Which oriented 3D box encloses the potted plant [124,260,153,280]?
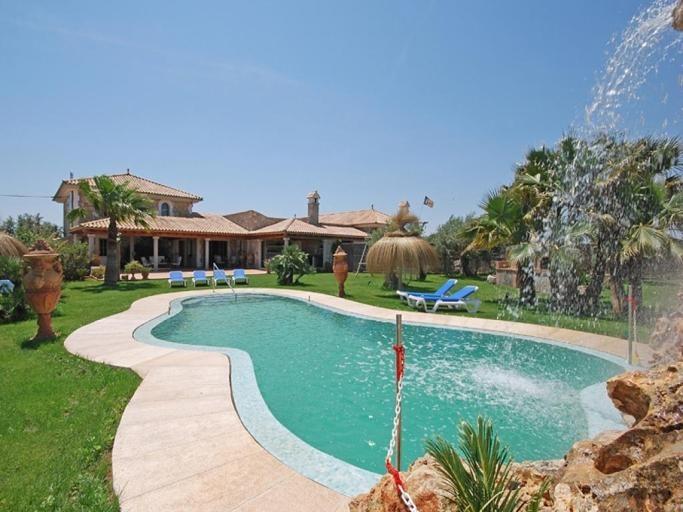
[{"bbox_3d":[-12.490,0.898,25.580,1.200,0.965,2.422,3,-3,-28],"label":"potted plant"}]
